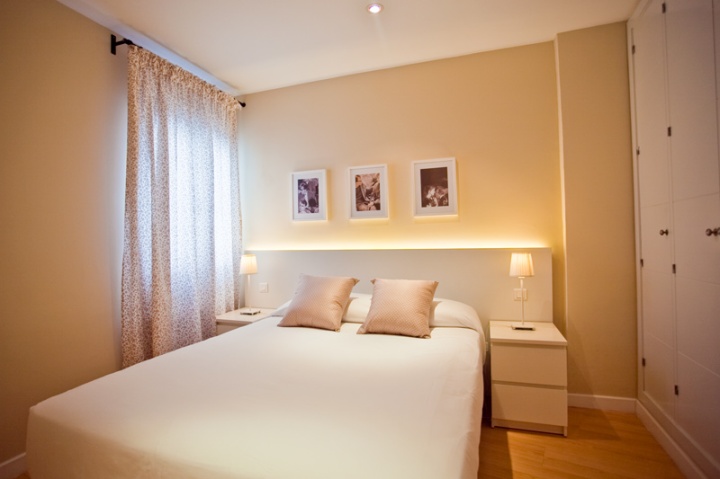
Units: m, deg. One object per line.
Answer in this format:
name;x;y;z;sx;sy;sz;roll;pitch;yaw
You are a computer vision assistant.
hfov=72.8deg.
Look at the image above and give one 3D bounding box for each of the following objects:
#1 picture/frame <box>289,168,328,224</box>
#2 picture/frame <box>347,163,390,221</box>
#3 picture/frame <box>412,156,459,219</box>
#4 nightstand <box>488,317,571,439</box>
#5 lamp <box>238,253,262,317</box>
picture/frame;-0.544;-0.491;5.412;0.581;0.816;0.034;0;-2;19
picture/frame;0.118;-0.510;5.215;0.567;0.762;0.049;1;5;18
picture/frame;0.799;-0.540;5.020;0.598;0.801;0.058;0;2;16
nightstand;1.357;1.260;4.659;0.863;1.158;0.752;-3;-9;17
lamp;-1.198;0.493;5.312;0.310;0.629;0.301;1;0;-41
